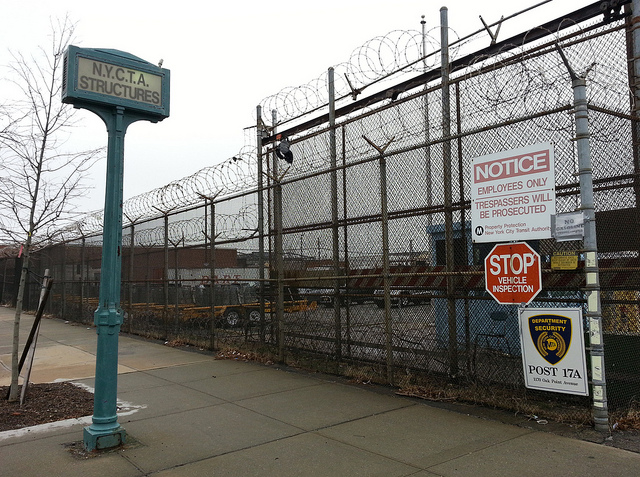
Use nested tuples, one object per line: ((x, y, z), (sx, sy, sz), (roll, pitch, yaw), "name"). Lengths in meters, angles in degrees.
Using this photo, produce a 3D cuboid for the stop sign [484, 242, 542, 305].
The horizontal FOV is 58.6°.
((2.678, 0.466, 7.833), (0.046, 0.903, 0.733), (10, -12, -40), "stop sign")
